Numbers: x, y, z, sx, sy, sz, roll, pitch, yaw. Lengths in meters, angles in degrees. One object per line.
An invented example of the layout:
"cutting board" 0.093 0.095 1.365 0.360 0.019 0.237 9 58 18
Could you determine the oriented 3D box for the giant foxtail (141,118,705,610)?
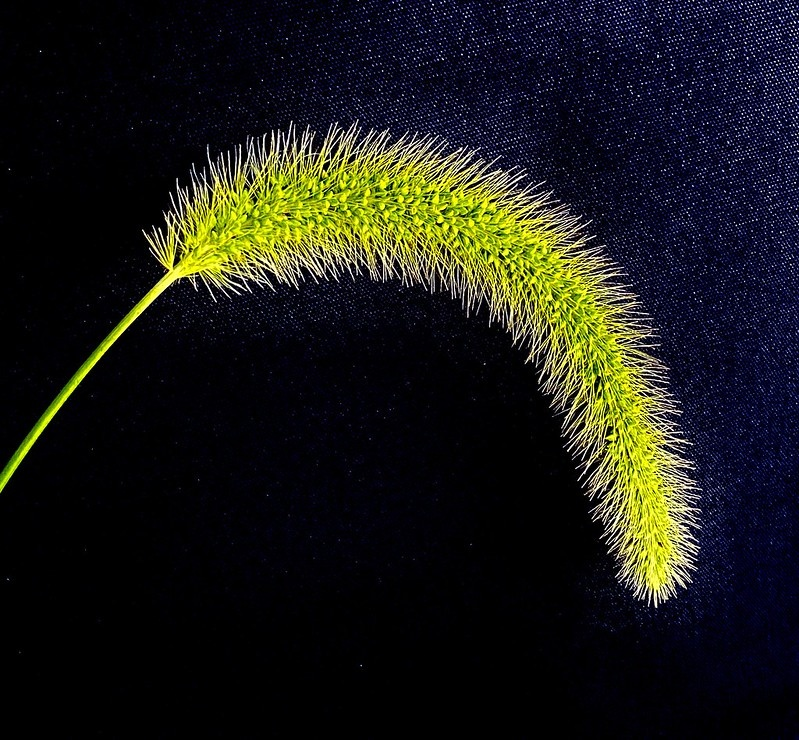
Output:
"giant foxtail" 0.145 -0.100 1.264 0.560 0.776 0.134 -34 3 6
